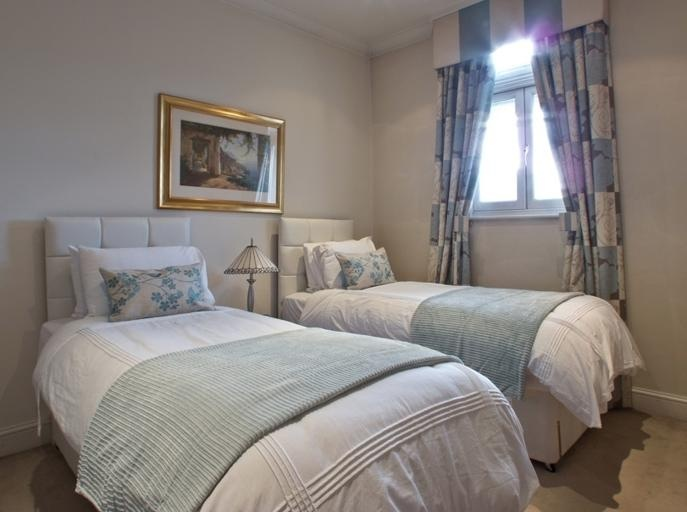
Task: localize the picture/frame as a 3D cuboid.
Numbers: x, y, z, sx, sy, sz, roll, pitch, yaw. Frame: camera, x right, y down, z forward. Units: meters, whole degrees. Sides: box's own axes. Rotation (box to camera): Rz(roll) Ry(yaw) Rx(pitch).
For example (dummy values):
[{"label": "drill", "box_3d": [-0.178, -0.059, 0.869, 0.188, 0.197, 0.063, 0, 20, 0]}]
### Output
[{"label": "picture/frame", "box_3d": [-1.025, -0.828, 3.736, 0.043, 0.834, 1.045, 3, 1, 44]}]
